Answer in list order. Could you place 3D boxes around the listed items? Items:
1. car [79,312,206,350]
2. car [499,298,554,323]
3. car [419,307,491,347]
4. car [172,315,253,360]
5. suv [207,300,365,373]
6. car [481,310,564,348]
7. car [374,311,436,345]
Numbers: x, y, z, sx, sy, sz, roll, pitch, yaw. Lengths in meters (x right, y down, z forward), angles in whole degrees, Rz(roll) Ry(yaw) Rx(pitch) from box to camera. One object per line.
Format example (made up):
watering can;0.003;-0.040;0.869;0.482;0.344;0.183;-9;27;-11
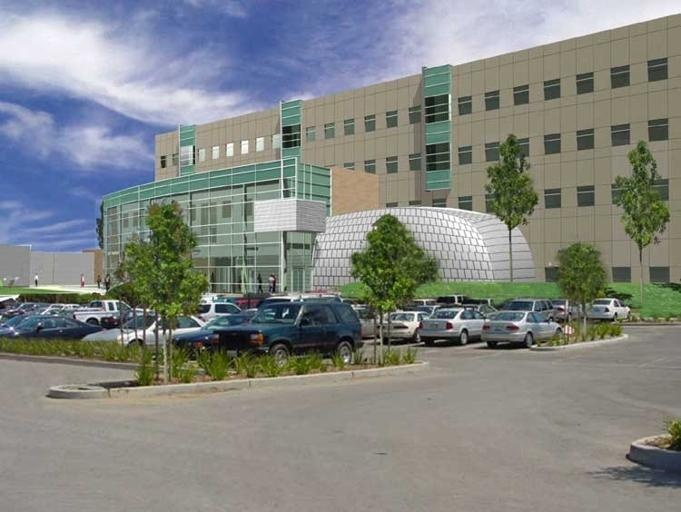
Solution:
car;-6.817;2.638;27.167;2.937;1.087;1.340;3;-8;-34
car;9.600;2.505;39.705;1.390;1.205;2.610;-8;-13;44
car;4.719;2.966;32.622;2.680;1.512;1.416;3;-7;-35
car;-4.084;2.503;25.287;1.133;0.972;2.665;-5;-8;35
suv;-1.438;2.283;22.871;1.951;1.616;3.525;-8;-12;41
car;7.037;2.881;30.664;3.130;1.435;1.300;4;-8;-39
car;2.644;3.122;33.061;1.052;0.851;2.400;-2;1;31
